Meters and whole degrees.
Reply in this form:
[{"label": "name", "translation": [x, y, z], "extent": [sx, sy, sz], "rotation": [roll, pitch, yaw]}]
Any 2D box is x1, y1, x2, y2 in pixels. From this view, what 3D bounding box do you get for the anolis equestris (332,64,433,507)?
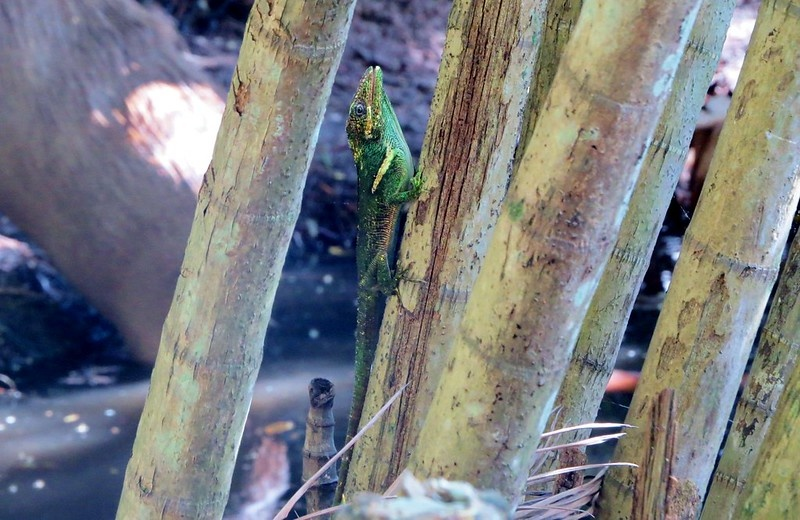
[{"label": "anolis equestris", "translation": [-0.064, 0.092, 4.072], "extent": [0.156, 1.467, 0.360], "rotation": [6, -13, 12]}]
